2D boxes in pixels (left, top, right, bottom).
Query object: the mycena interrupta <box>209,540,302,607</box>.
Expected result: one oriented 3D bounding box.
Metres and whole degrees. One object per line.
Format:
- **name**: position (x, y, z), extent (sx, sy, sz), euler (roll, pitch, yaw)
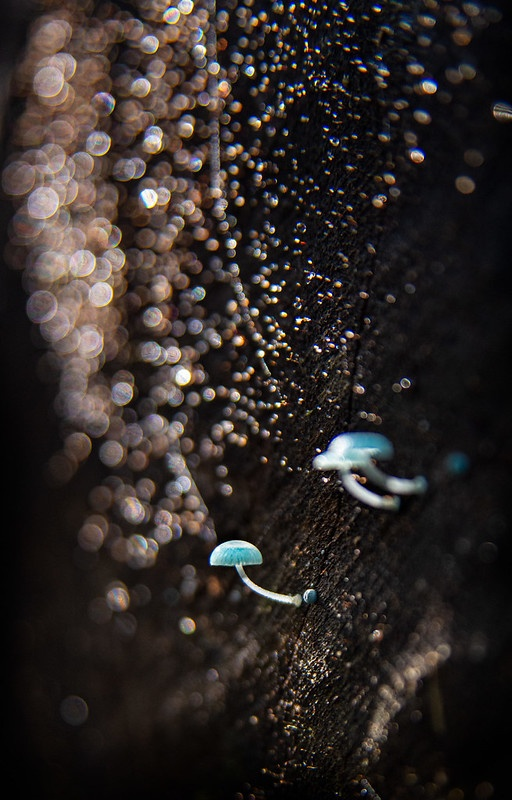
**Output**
- **mycena interrupta**: position (0.005, 0.168, 0.848), extent (0.115, 0.043, 0.035), euler (28, 84, -15)
